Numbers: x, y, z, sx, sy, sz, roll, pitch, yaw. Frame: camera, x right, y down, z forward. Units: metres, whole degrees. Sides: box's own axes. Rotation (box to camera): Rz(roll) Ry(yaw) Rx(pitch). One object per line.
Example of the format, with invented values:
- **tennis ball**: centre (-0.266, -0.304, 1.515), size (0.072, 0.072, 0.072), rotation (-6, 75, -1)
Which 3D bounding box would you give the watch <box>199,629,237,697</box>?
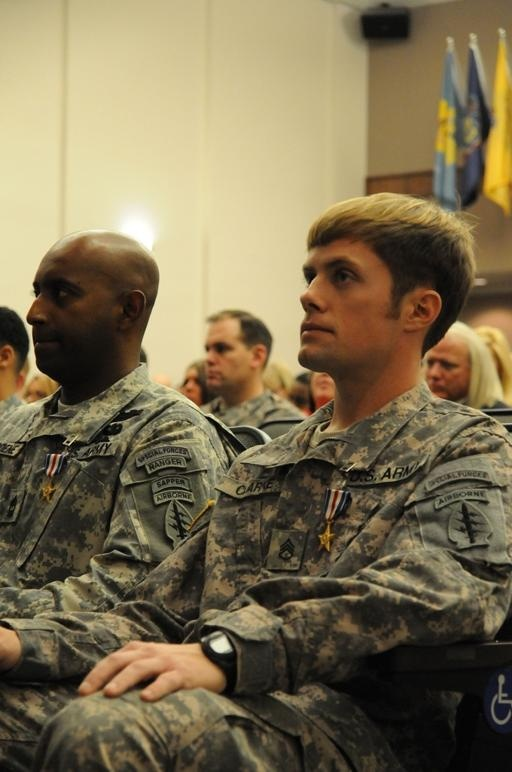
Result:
- **watch**: centre (-0.061, 0.395, 1.248), size (0.041, 0.082, 0.087), rotation (1, 1, -24)
